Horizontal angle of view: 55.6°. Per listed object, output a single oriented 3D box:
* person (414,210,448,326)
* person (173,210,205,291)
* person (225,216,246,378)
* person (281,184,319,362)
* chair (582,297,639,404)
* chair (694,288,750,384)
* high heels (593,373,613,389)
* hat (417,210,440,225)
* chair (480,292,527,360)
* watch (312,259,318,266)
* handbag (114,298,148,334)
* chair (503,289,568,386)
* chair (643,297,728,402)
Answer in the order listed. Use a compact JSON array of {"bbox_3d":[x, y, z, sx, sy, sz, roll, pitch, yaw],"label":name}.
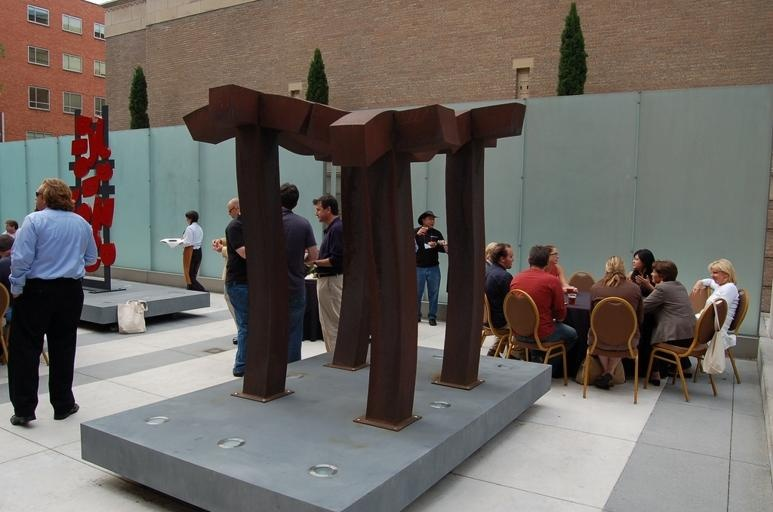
[{"bbox_3d":[0.826,0.221,14.168,0.566,2.182,1.033,0,5,3],"label":"person"},{"bbox_3d":[-4.376,-0.139,16.462,0.449,1.753,1.157,-1,5,-15],"label":"person"},{"bbox_3d":[-2.173,0.604,10.561,0.275,2.404,0.579,-1,5,-14],"label":"person"},{"bbox_3d":[-1.331,0.233,10.588,0.336,2.557,0.765,1,5,17],"label":"person"},{"bbox_3d":[3.269,1.314,10.701,0.797,1.498,0.518,1,5,16],"label":"chair"},{"bbox_3d":[5.150,1.205,11.588,0.809,1.522,0.822,2,8,4],"label":"chair"},{"bbox_3d":[3.225,1.846,10.944,0.279,0.223,0.166,7,1,24],"label":"high heels"},{"bbox_3d":[0.744,-0.736,14.004,0.328,0.248,0.299,1,5,14],"label":"hat"},{"bbox_3d":[1.691,1.169,11.238,0.616,1.040,0.667,3,-9,-28],"label":"chair"},{"bbox_3d":[-1.096,0.080,11.047,0.069,0.029,0.106,2,-21,-4],"label":"watch"},{"bbox_3d":[-4.591,1.076,13.190,0.517,0.556,0.378,-2,5,-24],"label":"handbag"},{"bbox_3d":[2.228,1.232,11.119,0.808,1.565,0.753,-7,9,-42],"label":"chair"},{"bbox_3d":[4.431,1.307,10.982,0.846,1.494,0.954,0,9,-15],"label":"chair"}]
